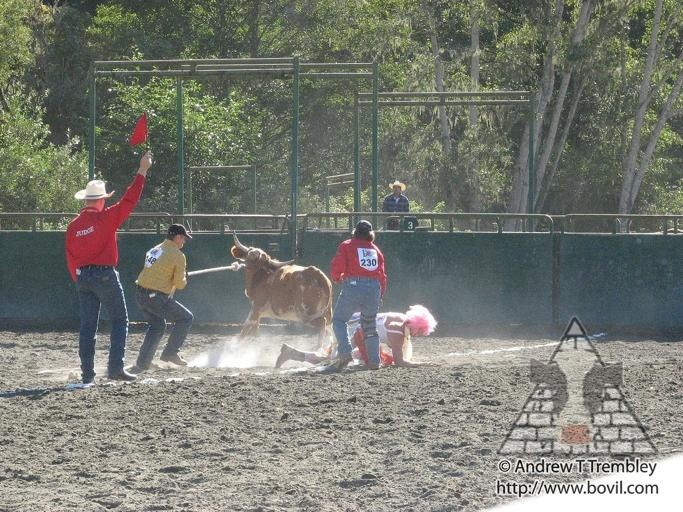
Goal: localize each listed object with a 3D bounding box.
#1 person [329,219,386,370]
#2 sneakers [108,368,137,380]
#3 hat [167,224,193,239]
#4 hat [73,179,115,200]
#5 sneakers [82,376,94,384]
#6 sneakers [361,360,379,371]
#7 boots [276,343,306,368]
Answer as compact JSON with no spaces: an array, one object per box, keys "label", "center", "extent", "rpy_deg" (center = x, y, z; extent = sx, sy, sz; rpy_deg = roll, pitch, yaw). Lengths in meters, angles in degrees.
[{"label":"person","center":[0.317,0.863,32.385],"extent":[1.151,3.176,0.638],"rpy_deg":[1,4,-1]},{"label":"sneakers","center":[-4.722,2.544,32.130],"extent":[0.670,0.286,0.226],"rpy_deg":[-1,4,-12]},{"label":"hat","center":[-3.559,-0.517,32.713],"extent":[0.440,0.237,0.316],"rpy_deg":[0,5,-31]},{"label":"hat","center":[-5.276,-1.373,32.300],"extent":[0.683,0.299,0.792],"rpy_deg":[2,7,9]},{"label":"sneakers","center":[-5.401,2.638,31.847],"extent":[0.174,0.169,0.168],"rpy_deg":[4,-7,-10]},{"label":"sneakers","center":[0.572,2.389,32.331],"extent":[0.409,0.176,0.140],"rpy_deg":[0,-5,34]},{"label":"boots","center":[-1.133,2.155,32.458],"extent":[0.312,0.391,0.917],"rpy_deg":[15,-24,-12]}]
